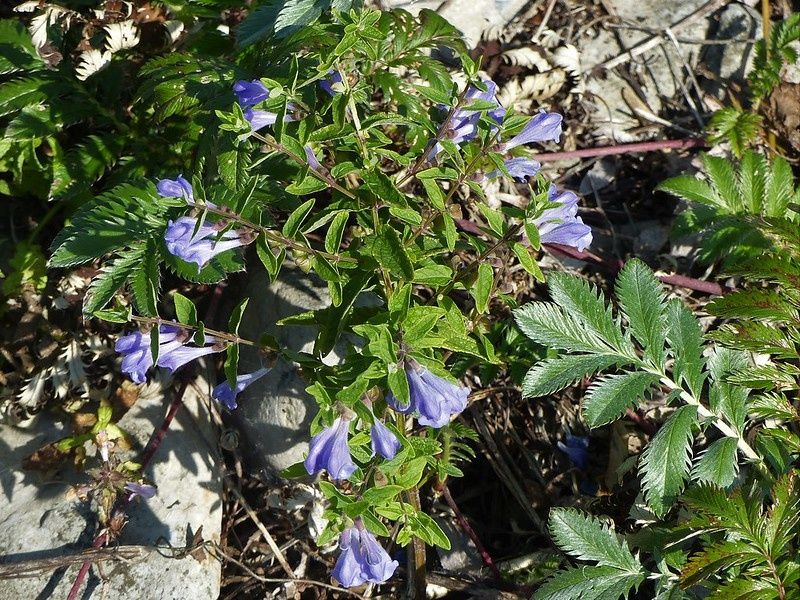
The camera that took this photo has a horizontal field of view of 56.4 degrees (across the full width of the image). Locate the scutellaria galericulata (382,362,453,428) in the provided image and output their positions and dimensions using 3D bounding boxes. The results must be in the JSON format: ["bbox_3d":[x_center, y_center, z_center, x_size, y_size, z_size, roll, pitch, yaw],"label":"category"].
[{"bbox_3d":[0.102,0.371,2.871,0.188,0.217,0.282,11,39,40],"label":"scutellaria galericulata"}]

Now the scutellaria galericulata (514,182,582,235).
[{"bbox_3d":[0.638,-0.389,3.111,0.252,0.192,0.152,-12,-2,-15],"label":"scutellaria galericulata"}]

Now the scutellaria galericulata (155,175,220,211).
[{"bbox_3d":[-0.856,-0.421,3.009,0.215,0.118,0.103,24,-47,-12],"label":"scutellaria galericulata"}]

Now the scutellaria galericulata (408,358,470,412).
[{"bbox_3d":[0.160,0.334,2.922,0.142,0.259,0.109,-48,1,7],"label":"scutellaria galericulata"}]

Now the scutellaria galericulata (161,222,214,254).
[{"bbox_3d":[-0.843,-0.258,2.983,0.151,0.135,0.133,-13,-2,22],"label":"scutellaria galericulata"}]

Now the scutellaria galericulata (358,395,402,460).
[{"bbox_3d":[-0.084,0.524,2.957,0.109,0.280,0.081,-34,-19,8],"label":"scutellaria galericulata"}]

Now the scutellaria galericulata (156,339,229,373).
[{"bbox_3d":[-0.892,0.227,3.208,0.269,0.154,0.160,-11,-15,-20],"label":"scutellaria galericulata"}]
